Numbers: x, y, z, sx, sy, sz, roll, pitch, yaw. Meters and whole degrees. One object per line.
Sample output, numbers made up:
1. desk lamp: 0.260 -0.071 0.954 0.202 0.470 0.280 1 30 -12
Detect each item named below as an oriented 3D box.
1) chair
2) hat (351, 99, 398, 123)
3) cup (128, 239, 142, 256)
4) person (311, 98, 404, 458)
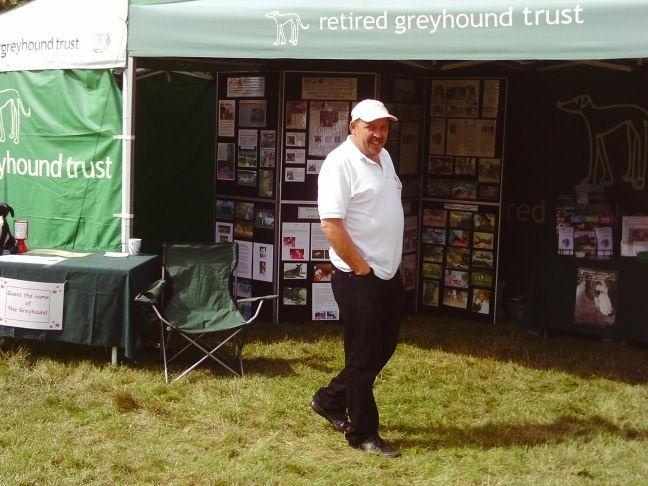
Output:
1. chair: -1.045 0.601 5.350 1.216 1.063 0.785 1 5 -27
2. hat: 0.285 -0.836 4.073 0.196 0.124 0.248 -1 7 -21
3. cup: -1.706 0.046 5.605 0.140 0.139 0.110 -2 6 -38
4. person: 0.244 0.245 4.126 0.582 2.306 0.560 1 13 0
